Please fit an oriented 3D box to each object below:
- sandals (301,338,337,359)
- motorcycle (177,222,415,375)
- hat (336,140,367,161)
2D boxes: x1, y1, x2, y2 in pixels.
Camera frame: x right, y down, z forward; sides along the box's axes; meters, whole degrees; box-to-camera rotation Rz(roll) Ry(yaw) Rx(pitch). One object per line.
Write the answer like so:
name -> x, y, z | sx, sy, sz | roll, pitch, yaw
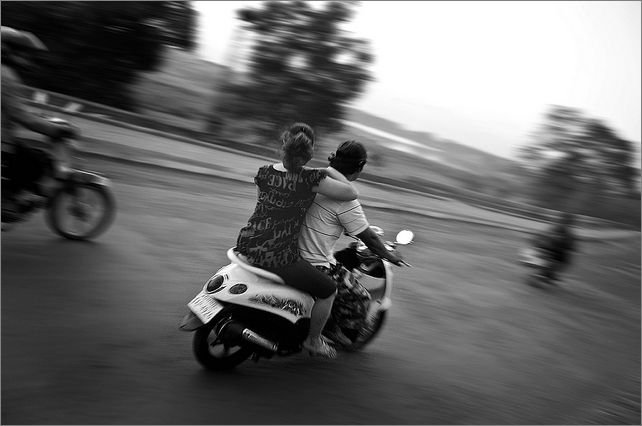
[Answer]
sandals -> -0.025, 1.417, 7.154 | 0.440, 0.151, 0.166 | 15, 0, -37
motorcycle -> -0.006, 0.934, 7.471 | 3.007, 1.421, 1.260 | 8, -3, -43
hat -> 0.319, -0.644, 7.081 | 0.301, 0.204, 0.213 | -8, 34, -35
